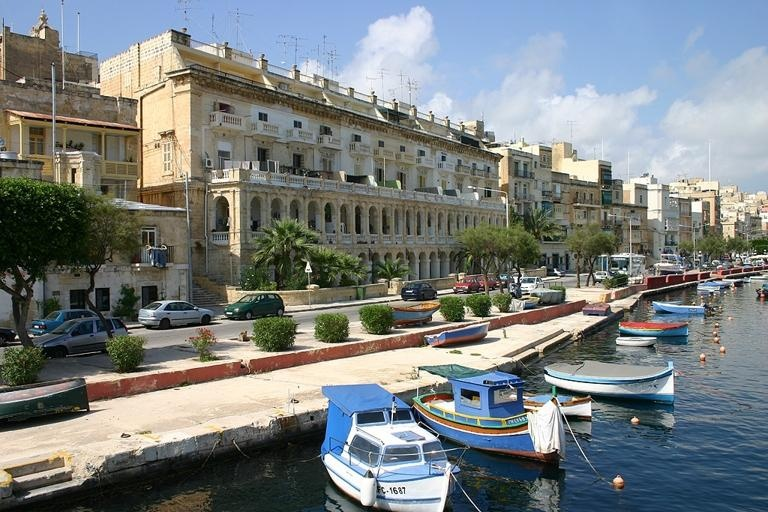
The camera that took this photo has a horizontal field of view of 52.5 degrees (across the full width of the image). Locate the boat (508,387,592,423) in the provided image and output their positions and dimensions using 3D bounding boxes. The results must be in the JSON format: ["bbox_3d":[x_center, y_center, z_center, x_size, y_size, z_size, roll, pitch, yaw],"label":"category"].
[{"bbox_3d":[8.052,7.408,38.154,4.338,1.175,1.557,0,-2,8],"label":"boat"}]

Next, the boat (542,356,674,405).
[{"bbox_3d":[12.517,7.119,43.879,7.038,2.366,4.437,-4,2,39],"label":"boat"}]

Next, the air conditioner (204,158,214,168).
[{"bbox_3d":[-15.723,-7.962,69.338,0.684,0.961,1.018,-4,-4,32],"label":"air conditioner"}]

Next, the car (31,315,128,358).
[{"bbox_3d":[-17.329,4.587,44.289,2.511,2.191,5.275,2,2,44],"label":"car"}]

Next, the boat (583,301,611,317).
[{"bbox_3d":[17.584,4.609,64.732,1.783,0.904,2.906,11,10,29],"label":"boat"}]

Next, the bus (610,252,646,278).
[{"bbox_3d":[35.232,1.478,112.820,3.935,2.929,7.646,14,12,42],"label":"bus"}]

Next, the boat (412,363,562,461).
[{"bbox_3d":[5.011,7.472,37.443,2.974,3.515,7.930,-5,5,-40],"label":"boat"}]

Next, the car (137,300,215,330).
[{"bbox_3d":[-14.357,4.166,53.237,2.114,1.813,4.787,-1,-1,33],"label":"car"}]
